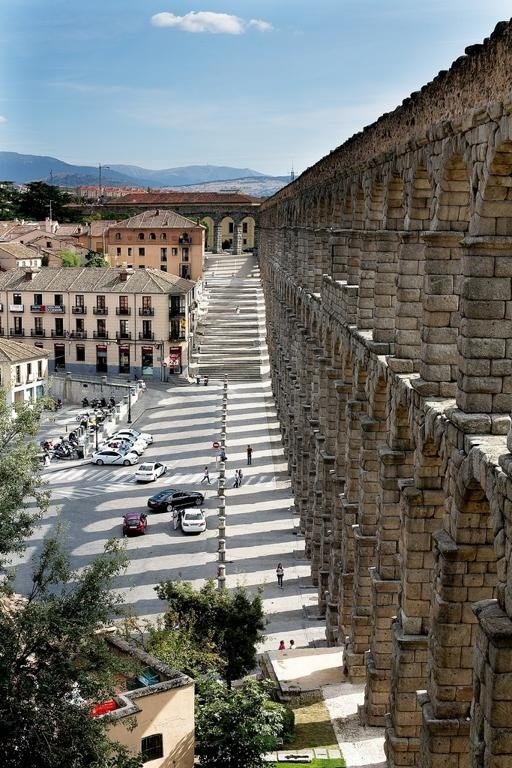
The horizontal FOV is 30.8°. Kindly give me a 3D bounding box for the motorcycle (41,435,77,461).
[{"bbox_3d":[-12.972,4.347,62.116,2.624,1.328,1.476,0,-13,11],"label":"motorcycle"}]

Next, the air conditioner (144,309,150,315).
[{"bbox_3d":[-9.864,-6.496,84.225,0.853,0.577,0.444,0,-3,-3],"label":"air conditioner"}]

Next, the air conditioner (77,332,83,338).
[{"bbox_3d":[-16.203,-4.540,86.024,0.818,0.570,0.444,0,0,-6],"label":"air conditioner"}]
